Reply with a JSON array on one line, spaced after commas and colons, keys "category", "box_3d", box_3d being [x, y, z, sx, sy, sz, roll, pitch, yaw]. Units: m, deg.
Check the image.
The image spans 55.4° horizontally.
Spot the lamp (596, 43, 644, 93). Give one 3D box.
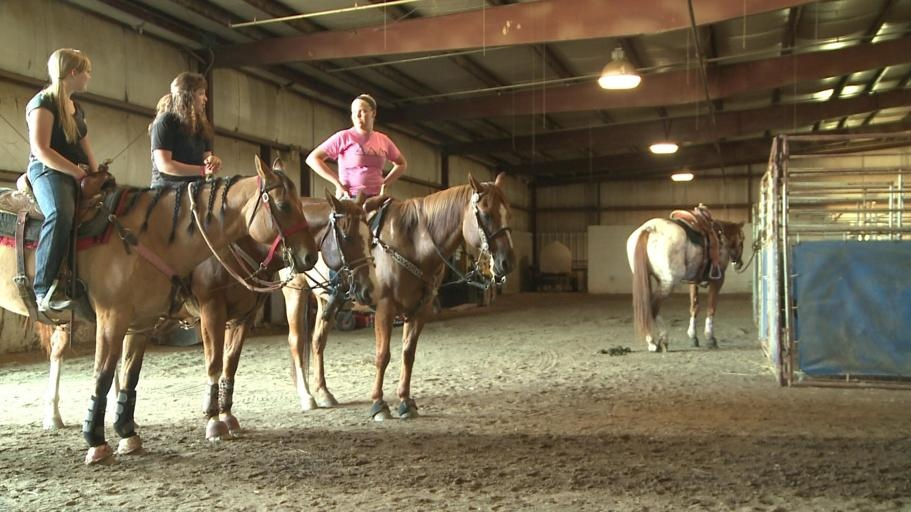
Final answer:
[{"category": "lamp", "box_3d": [3.419, -4.046, 17.985, 0.840, 0.785, 0.847, 1, 7, 11]}]

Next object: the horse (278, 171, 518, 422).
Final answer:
[{"category": "horse", "box_3d": [-1.070, 0.700, 13.359, 4.666, 3.631, 1.220, -4, -6, 34]}]

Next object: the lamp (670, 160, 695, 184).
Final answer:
[{"category": "lamp", "box_3d": [7.715, -3.015, 29.235, 1.023, 0.626, 1.377, -1, -5, 8]}]

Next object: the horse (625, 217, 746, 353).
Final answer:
[{"category": "horse", "box_3d": [4.803, 0.520, 17.240, 3.475, 2.722, 0.999, 1, -3, -37]}]

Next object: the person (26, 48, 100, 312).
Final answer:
[{"category": "person", "box_3d": [-5.383, -1.055, 11.836, 0.849, 3.590, 0.453, 1, -3, -25]}]

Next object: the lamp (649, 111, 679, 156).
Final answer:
[{"category": "lamp", "box_3d": [5.990, -3.632, 24.808, 0.904, 1.223, 1.217, 2, -1, 9]}]

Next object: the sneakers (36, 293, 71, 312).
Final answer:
[{"category": "sneakers", "box_3d": [-5.393, 0.628, 11.656, 0.568, 0.242, 0.203, 0, 38, 0]}]
